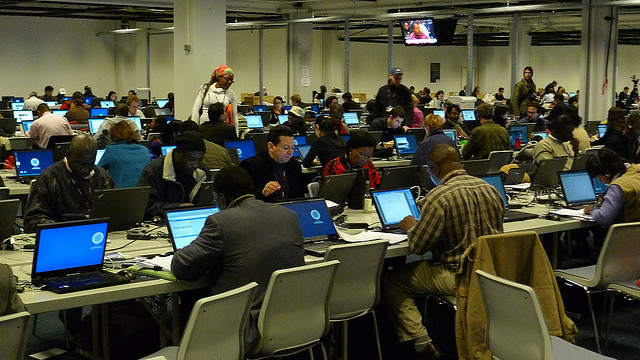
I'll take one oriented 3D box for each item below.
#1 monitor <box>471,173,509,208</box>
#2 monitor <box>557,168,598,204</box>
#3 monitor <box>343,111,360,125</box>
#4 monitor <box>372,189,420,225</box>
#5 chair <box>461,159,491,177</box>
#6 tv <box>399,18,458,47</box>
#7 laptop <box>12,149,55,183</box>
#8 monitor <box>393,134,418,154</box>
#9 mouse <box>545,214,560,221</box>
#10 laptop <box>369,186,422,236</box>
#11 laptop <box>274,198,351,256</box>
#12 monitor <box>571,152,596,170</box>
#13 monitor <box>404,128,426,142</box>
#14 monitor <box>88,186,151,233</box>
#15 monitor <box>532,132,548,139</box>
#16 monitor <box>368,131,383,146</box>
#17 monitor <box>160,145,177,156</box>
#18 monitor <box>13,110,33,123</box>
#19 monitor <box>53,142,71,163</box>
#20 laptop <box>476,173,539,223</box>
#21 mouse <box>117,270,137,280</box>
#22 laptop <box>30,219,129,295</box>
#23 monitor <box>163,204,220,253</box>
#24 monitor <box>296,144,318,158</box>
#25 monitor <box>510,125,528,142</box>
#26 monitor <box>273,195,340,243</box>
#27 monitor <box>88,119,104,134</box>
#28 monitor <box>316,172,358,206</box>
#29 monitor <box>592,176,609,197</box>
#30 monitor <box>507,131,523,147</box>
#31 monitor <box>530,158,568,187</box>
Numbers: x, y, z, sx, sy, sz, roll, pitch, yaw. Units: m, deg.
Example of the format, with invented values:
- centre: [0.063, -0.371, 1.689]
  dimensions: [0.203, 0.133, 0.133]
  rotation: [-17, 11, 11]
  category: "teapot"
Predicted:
- centre: [1.983, 0.064, 5.221]
  dimensions: [0.508, 0.290, 0.400]
  rotation: [-3, 5, -34]
  category: "monitor"
- centre: [3.025, 0.083, 5.374]
  dimensions: [0.568, 0.385, 0.341]
  rotation: [-15, 15, -39]
  category: "monitor"
- centre: [0.837, -1.724, 12.956]
  dimensions: [0.537, 0.292, 0.395]
  rotation: [-2, 6, -33]
  category: "monitor"
- centre: [0.723, 0.245, 4.534]
  dimensions: [0.471, 0.256, 0.354]
  rotation: [-9, 5, -32]
  category: "monitor"
- centre: [2.190, -0.172, 6.398]
  dimensions: [0.518, 0.306, 0.270]
  rotation: [-4, 3, -38]
  category: "chair"
- centre: [3.892, -5.409, 16.757]
  dimensions: [1.936, 0.932, 0.553]
  rotation: [-1, 12, 2]
  category: "tv"
- centre: [-3.721, -0.172, 5.869]
  dimensions: [0.331, 0.290, 0.462]
  rotation: [6, 7, 44]
  category: "laptop"
- centre: [1.627, -0.692, 8.817]
  dimensions: [0.593, 0.368, 0.364]
  rotation: [-2, -3, -32]
  category: "monitor"
- centre: [2.451, 0.397, 4.820]
  dimensions: [0.141, 0.027, 0.156]
  rotation: [0, 12, 8]
  category: "mouse"
- centre: [0.888, 0.293, 4.389]
  dimensions: [0.650, 0.414, 0.577]
  rotation: [-3, 3, -41]
  category: "laptop"
- centre: [-0.083, 0.387, 4.102]
  dimensions: [0.575, 0.310, 0.495]
  rotation: [-8, 16, -37]
  category: "laptop"
- centre: [3.439, -0.232, 5.991]
  dimensions: [0.263, 0.149, 0.183]
  rotation: [-6, 16, -33]
  category: "monitor"
- centre: [2.051, -0.882, 9.784]
  dimensions: [0.483, 0.403, 0.326]
  rotation: [-5, 5, -37]
  category: "monitor"
- centre: [-1.845, 0.247, 4.168]
  dimensions: [0.608, 0.372, 0.431]
  rotation: [-4, 22, -43]
  category: "monitor"
- centre: [4.902, -0.999, 10.190]
  dimensions: [0.287, 0.083, 0.482]
  rotation: [4, 13, 23]
  category: "monitor"
- centre: [1.088, -0.833, 9.102]
  dimensions: [0.194, 0.216, 0.427]
  rotation: [3, 13, 20]
  category: "monitor"
- centre: [-2.239, -0.429, 6.587]
  dimensions: [0.207, 0.118, 0.207]
  rotation: [-3, 12, -8]
  category: "monitor"
- centre: [-8.672, -1.841, 13.221]
  dimensions: [0.450, 0.262, 0.382]
  rotation: [-10, 15, -34]
  category: "monitor"
- centre: [-3.885, -0.405, 6.787]
  dimensions: [0.214, 0.242, 0.537]
  rotation: [-8, 14, -28]
  category: "monitor"
- centre: [2.001, 0.180, 5.030]
  dimensions: [0.658, 0.364, 0.580]
  rotation: [-8, 14, -43]
  category: "laptop"
- centre: [-1.436, 0.697, 3.385]
  dimensions: [0.078, 0.017, 0.077]
  rotation: [8, 5, 32]
  category: "mouse"
- centre: [-1.750, 0.472, 3.259]
  dimensions: [0.642, 0.476, 0.451]
  rotation: [0, 8, -38]
  category: "laptop"
- centre: [-1.093, 0.321, 3.739]
  dimensions: [0.504, 0.313, 0.345]
  rotation: [-8, 9, -36]
  category: "monitor"
- centre: [-0.298, -0.484, 8.009]
  dimensions: [0.366, 0.239, 0.114]
  rotation: [-11, 4, -24]
  category: "monitor"
- centre: [4.350, -0.990, 10.030]
  dimensions: [0.333, 0.386, 0.610]
  rotation: [-3, -3, 39]
  category: "monitor"
- centre: [-0.148, 0.263, 4.200]
  dimensions: [0.586, 0.319, 0.417]
  rotation: [-8, 8, -39]
  category: "monitor"
- centre: [-5.212, -1.240, 10.495]
  dimensions: [0.278, 0.276, 0.568]
  rotation: [-8, 14, -26]
  category: "monitor"
- centre: [0.171, 0.084, 5.033]
  dimensions: [0.363, 0.315, 0.505]
  rotation: [31, 23, 33]
  category: "monitor"
- centre: [3.238, 0.081, 5.287]
  dimensions: [0.286, 0.170, 0.150]
  rotation: [-3, 2, -34]
  category: "monitor"
- centre: [4.194, -0.903, 9.856]
  dimensions: [0.186, 0.298, 0.740]
  rotation: [6, 14, 30]
  category: "monitor"
- centre: [3.044, -0.149, 6.274]
  dimensions: [0.574, 0.358, 0.403]
  rotation: [-9, 18, -27]
  category: "monitor"
